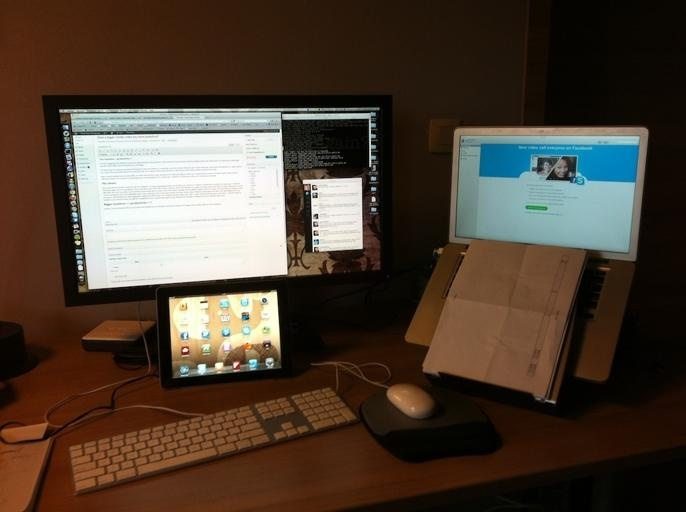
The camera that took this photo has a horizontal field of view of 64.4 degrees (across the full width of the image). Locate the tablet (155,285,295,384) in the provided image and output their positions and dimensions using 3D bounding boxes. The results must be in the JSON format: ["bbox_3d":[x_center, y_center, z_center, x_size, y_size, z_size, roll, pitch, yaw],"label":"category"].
[{"bbox_3d":[-0.263,0.175,1.185,0.206,0.162,0.016,-2,-3,-17],"label":"tablet"}]

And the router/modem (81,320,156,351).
[{"bbox_3d":[-0.532,0.193,1.309,0.168,0.047,0.087,0,11,5],"label":"router/modem"}]

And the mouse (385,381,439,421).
[{"bbox_3d":[0.133,0.279,1.076,0.081,0.027,0.108,-14,25,-39],"label":"mouse"}]

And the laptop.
[{"bbox_3d":[0.379,-0.035,1.142,0.422,0.316,0.457,8,46,30],"label":"laptop"}]

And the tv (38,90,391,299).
[{"bbox_3d":[-0.262,-0.151,1.277,0.790,0.477,0.074,-7,17,-11],"label":"tv"}]
